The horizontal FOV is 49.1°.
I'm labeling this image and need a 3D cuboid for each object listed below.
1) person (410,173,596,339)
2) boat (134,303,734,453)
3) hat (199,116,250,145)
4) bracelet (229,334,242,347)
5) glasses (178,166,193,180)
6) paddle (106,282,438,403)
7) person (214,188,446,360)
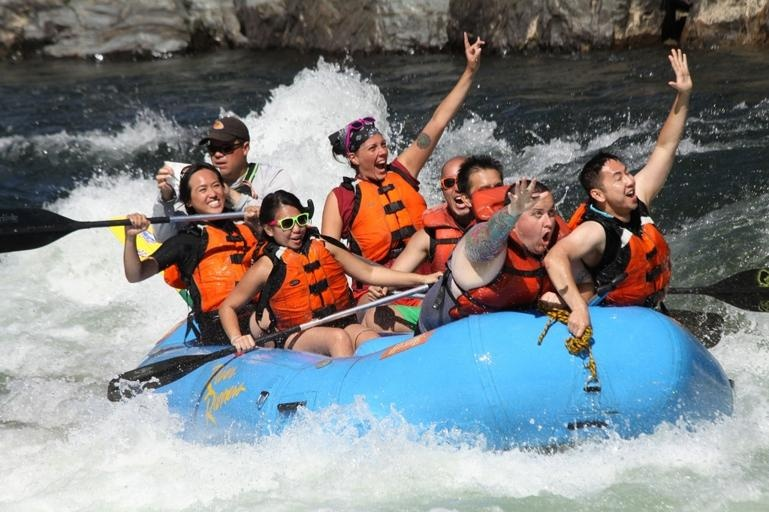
[{"bbox_3d":[0.815,0.027,6.753,1.040,1.416,0.518,0,21,10],"label":"person"},{"bbox_3d":[0.393,1.102,7.173,1.866,0.820,3.386,3,-11,-43],"label":"boat"},{"bbox_3d":[-1.648,-1.313,8.775,0.292,0.220,0.413,-5,-11,42],"label":"hat"},{"bbox_3d":[-1.376,0.791,7.719,0.088,0.041,0.114,-3,40,26],"label":"bracelet"},{"bbox_3d":[-1.957,-0.803,8.297,0.113,0.157,0.052,32,-5,23],"label":"glasses"},{"bbox_3d":[-0.960,0.835,7.781,2.816,0.430,0.207,-18,21,3],"label":"paddle"},{"bbox_3d":[-0.753,0.345,7.882,1.488,1.108,1.765,-21,22,-37],"label":"person"}]
